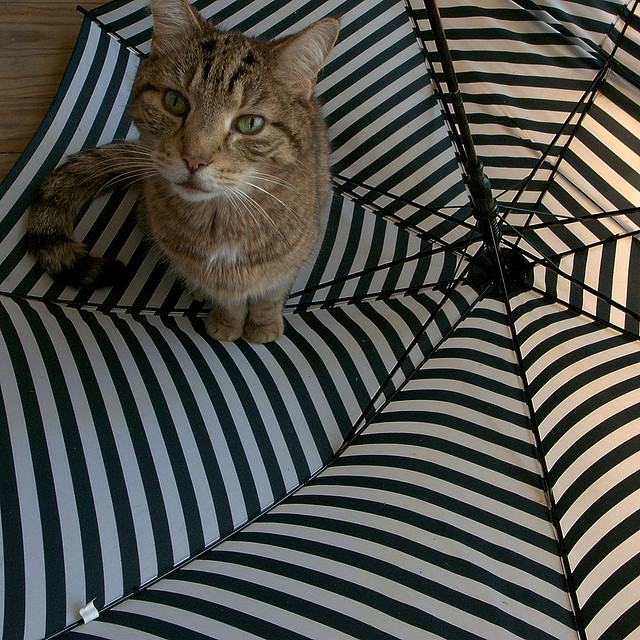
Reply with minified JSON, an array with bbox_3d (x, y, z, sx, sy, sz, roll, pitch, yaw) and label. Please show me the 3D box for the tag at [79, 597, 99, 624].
[{"bbox_3d":[-0.654,0.827,2.525,0.038,0.041,0.048,-30,-85,9],"label":"tag"}]
